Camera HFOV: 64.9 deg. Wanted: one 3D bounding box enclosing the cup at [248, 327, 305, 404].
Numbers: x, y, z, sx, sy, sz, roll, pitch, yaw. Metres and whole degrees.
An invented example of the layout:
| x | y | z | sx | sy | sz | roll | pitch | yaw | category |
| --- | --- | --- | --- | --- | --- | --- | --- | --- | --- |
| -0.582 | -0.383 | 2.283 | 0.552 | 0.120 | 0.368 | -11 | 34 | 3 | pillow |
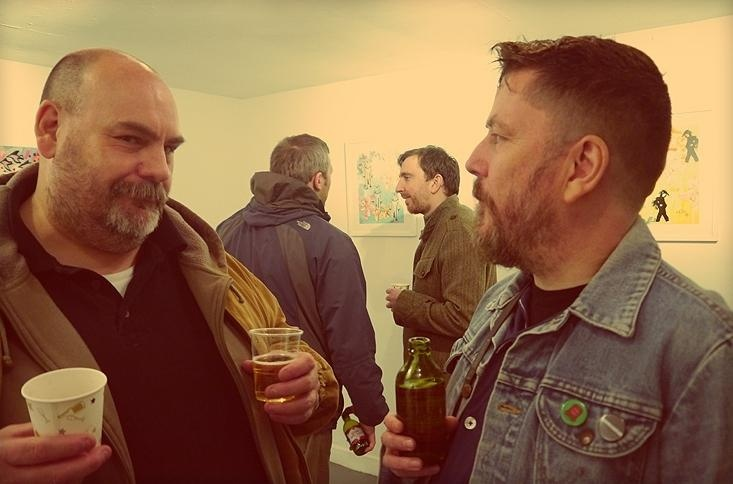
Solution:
| x | y | z | sx | sy | sz | roll | pitch | yaw | category |
| --- | --- | --- | --- | --- | --- | --- | --- | --- | --- |
| -0.373 | 0.466 | 2.258 | 0.286 | 0.302 | 0.282 | 1 | -9 | 0 | cup |

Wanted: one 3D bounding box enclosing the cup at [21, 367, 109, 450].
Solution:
| x | y | z | sx | sy | sz | roll | pitch | yaw | category |
| --- | --- | --- | --- | --- | --- | --- | --- | --- | --- |
| -0.964 | 0.513 | 1.853 | 0.280 | 0.207 | 0.260 | 4 | 6 | 0 | cup |
